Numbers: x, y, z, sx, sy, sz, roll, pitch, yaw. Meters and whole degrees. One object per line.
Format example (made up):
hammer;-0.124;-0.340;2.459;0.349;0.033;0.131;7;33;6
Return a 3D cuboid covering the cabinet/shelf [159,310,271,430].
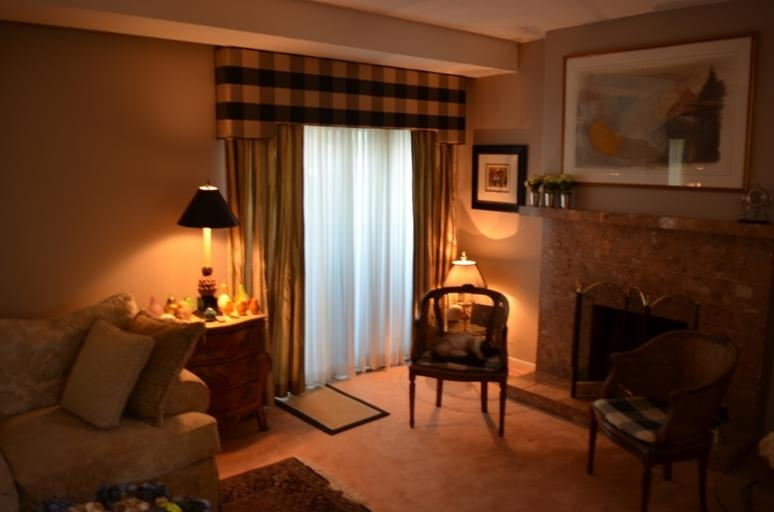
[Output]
cabinet/shelf;-1.360;1.010;5.319;0.883;1.170;0.782;-1;0;-38

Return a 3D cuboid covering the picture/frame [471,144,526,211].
picture/frame;1.237;-0.872;6.353;0.052;0.753;0.687;-9;15;-42

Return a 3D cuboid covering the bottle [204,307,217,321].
bottle;-1.488;0.481;4.906;0.101;0.142;0.099;-2;6;0

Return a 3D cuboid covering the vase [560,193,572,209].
vase;1.702;-0.530;5.603;0.130;0.149;0.126;-1;3;-43

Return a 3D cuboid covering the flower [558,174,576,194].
flower;1.699;-0.678;5.483;0.156;0.161;0.161;3;4;25

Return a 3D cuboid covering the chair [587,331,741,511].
chair;2.104;1.110;4.946;1.189;1.667;1.195;0;3;-19

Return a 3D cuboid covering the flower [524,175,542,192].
flower;1.442;-0.707;5.751;0.168;0.173;0.165;-1;5;-29

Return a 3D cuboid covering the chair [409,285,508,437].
chair;0.724;0.880;5.648;0.867;1.185;1.281;3;10;10

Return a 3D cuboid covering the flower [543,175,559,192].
flower;1.575;-0.696;5.585;0.163;0.168;0.142;-3;6;-32

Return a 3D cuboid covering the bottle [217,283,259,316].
bottle;-1.312;0.361;5.152;0.308;0.228;0.313;-2;-3;0

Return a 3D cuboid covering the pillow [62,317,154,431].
pillow;-1.873;0.861;4.152;0.622;0.644;0.237;11;-14;33

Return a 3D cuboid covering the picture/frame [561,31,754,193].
picture/frame;2.365;-1.248;4.967;1.437;1.118;0.052;7;11;31

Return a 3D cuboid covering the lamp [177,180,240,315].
lamp;-1.546;-0.063;5.034;0.477;1.104;0.525;-2;10;-20

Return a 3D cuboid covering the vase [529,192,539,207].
vase;1.463;-0.571;5.836;0.125;0.144;0.126;1;2;-11
